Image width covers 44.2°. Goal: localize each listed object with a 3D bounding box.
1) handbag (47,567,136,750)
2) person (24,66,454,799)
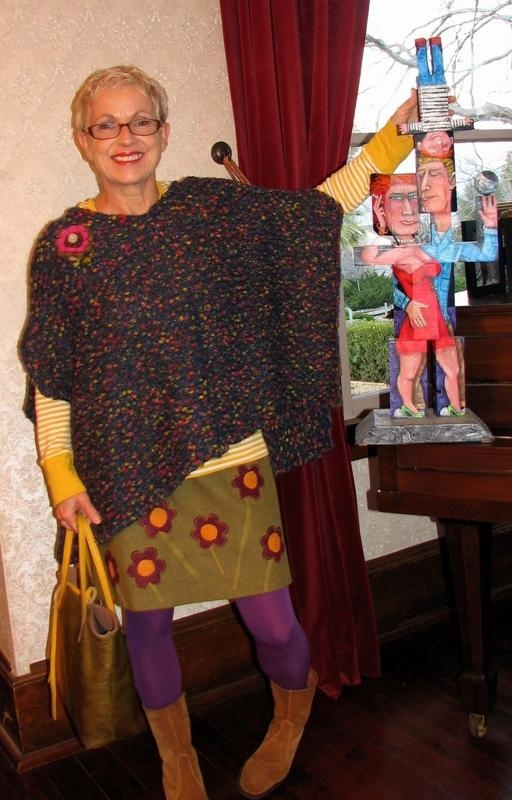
[{"bbox_3d":[-0.307,0.430,1.151,0.129,0.275,0.311,-8,9,-30],"label":"handbag"},{"bbox_3d":[-0.066,0.139,1.134,0.651,1.351,0.265,-3,4,-17],"label":"person"}]
